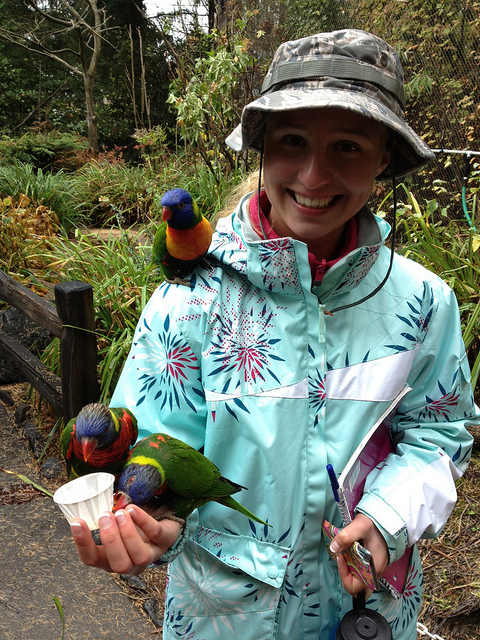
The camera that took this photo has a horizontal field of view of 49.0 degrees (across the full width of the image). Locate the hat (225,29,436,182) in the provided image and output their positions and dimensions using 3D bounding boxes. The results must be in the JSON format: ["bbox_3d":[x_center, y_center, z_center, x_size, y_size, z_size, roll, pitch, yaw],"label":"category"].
[{"bbox_3d":[0.171,-0.427,1.197,0.558,0.311,0.451,2,15,10],"label":"hat"}]

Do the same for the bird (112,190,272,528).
[{"bbox_3d":[-0.127,0.084,1.137,0.210,0.728,0.549,9,22,11],"label":"bird"}]
